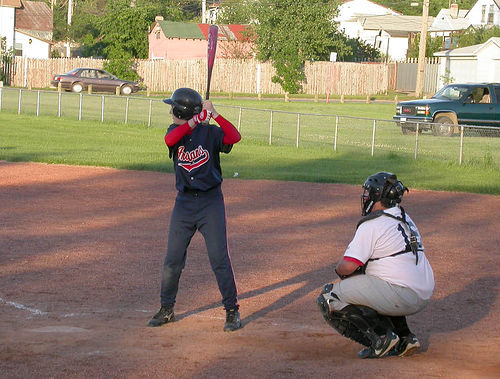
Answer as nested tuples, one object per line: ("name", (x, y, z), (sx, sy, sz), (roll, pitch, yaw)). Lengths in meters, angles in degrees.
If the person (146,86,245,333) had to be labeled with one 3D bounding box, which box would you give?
("person", (-0.869, 0.284, 12.626), (1.515, 3.473, 0.951), (-1, 1, 14))
